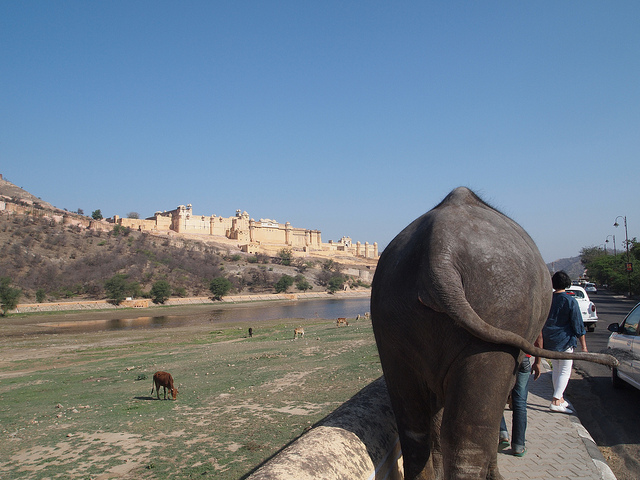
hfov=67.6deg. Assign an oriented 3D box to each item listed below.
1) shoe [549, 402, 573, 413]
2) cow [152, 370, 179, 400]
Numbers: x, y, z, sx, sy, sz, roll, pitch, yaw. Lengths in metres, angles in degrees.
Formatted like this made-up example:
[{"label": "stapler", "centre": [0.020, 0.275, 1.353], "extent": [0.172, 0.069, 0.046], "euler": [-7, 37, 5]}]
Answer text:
[{"label": "shoe", "centre": [3.610, 2.500, 7.158], "extent": [0.286, 0.118, 0.099], "euler": [0, -2, 4]}, {"label": "cow", "centre": [-3.579, 3.332, 11.120], "extent": [0.285, 0.601, 1.053], "euler": [0, 4, -44]}]
